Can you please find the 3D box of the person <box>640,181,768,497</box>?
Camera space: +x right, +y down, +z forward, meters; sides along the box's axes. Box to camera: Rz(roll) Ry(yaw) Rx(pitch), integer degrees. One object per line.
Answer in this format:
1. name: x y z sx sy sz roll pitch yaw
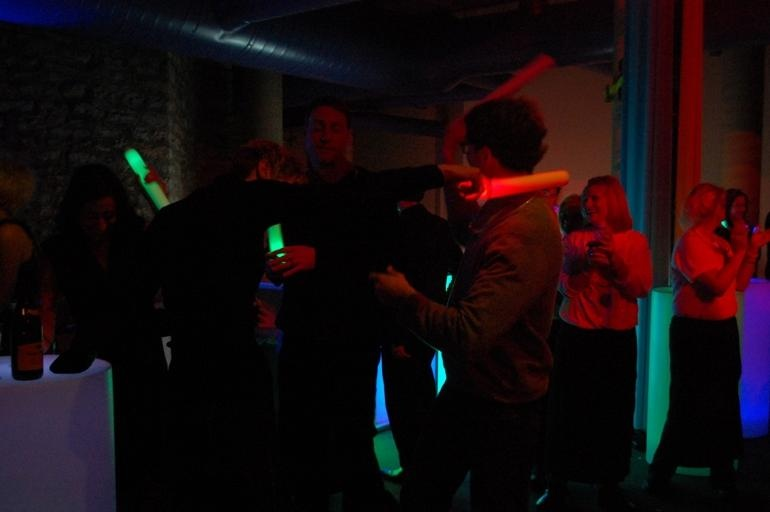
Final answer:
1. person: 2.177 0.571 4.584 0.596 2.157 0.383 1 -2 25
